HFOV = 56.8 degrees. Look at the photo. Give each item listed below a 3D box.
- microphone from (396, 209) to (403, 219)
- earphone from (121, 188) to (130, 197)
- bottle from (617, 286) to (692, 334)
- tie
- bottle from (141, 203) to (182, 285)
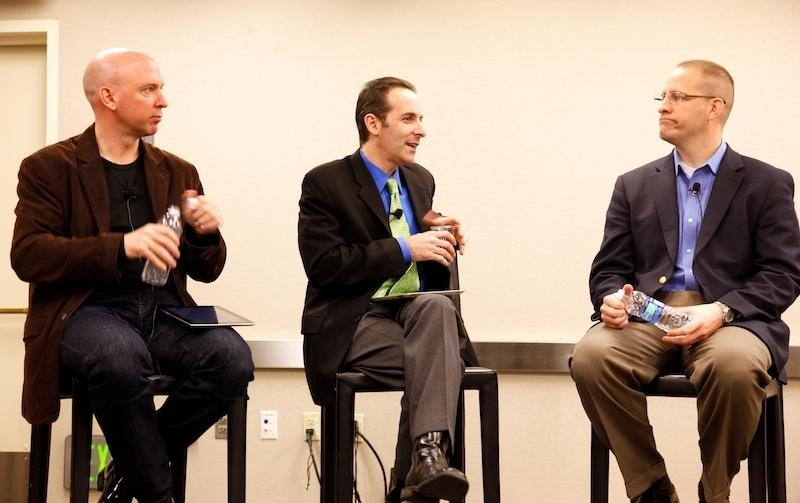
[{"bbox_3d":[0.000,-0.176,3.470,0.037,0.037,0.009,0,12,-29],"label":"microphone"},{"bbox_3d":[-1.244,-0.264,3.343,0.032,0.034,0.010,-5,-3,22],"label":"earphone"},{"bbox_3d":[1.155,0.269,3.354,0.308,0.183,0.065,-3,-3,20],"label":"bottle"},{"bbox_3d":[-0.007,-0.051,3.463,0.209,0.571,0.200,3,-1,11],"label":"tie"},{"bbox_3d":[-1.039,-0.025,3.275,0.141,0.375,0.157,4,5,28],"label":"bottle"}]
